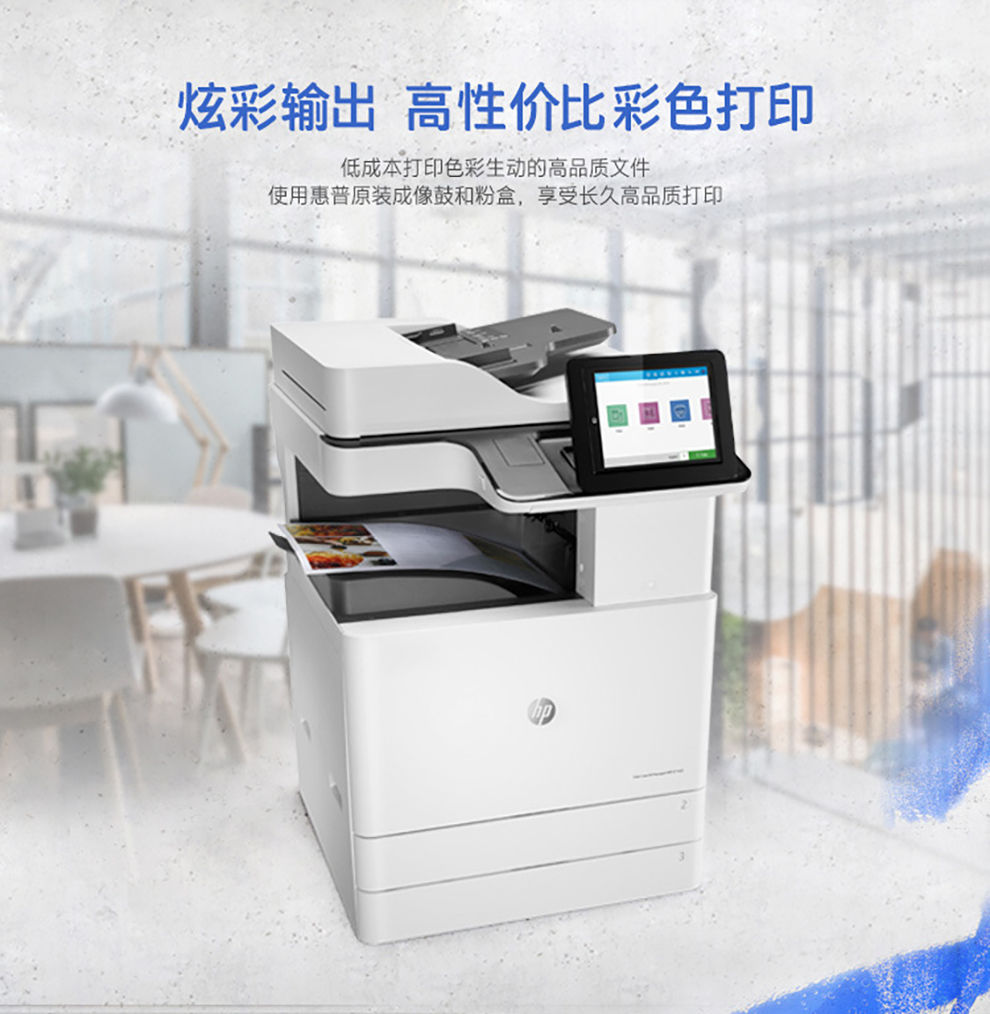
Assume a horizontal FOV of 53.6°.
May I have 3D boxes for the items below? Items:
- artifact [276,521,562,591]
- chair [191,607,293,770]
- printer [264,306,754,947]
[{"bbox_3d":[-0.131,0.075,1.603,0.313,0.043,0.188,14,8,-11],"label":"artifact"},{"bbox_3d":[-0.551,0.380,2.102,0.298,0.328,0.305,0,-4,-11],"label":"chair"},{"bbox_3d":[-0.010,0.170,1.614,0.620,0.979,0.568,-4,9,-20],"label":"printer"}]
